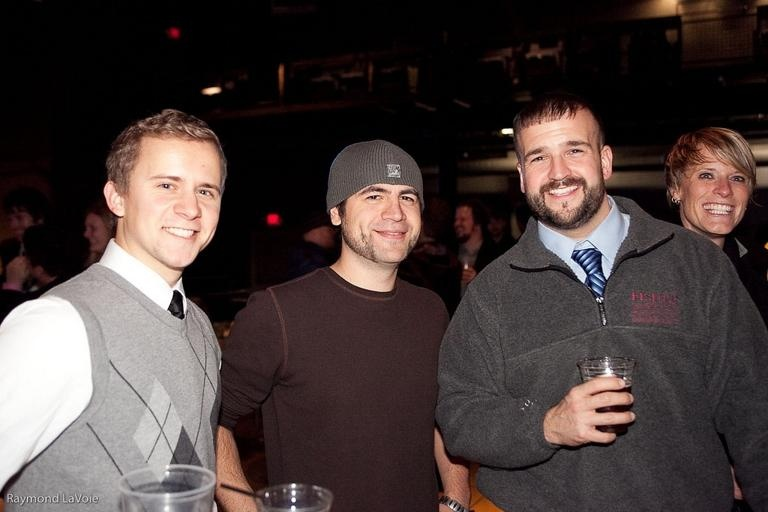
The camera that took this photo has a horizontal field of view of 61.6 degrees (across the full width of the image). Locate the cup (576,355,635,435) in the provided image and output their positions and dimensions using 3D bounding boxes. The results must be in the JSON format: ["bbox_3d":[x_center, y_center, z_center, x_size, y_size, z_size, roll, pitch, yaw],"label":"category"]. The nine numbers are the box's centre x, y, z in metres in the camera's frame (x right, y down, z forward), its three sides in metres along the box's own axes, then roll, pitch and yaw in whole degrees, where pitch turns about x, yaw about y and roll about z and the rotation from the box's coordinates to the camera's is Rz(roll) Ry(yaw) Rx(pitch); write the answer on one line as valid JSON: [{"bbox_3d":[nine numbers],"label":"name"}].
[{"bbox_3d":[0.888,0.558,2.576,0.320,0.310,0.295,0,-11,0],"label":"cup"}]

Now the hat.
[{"bbox_3d":[-0.072,-0.384,3.304,0.413,0.277,0.387,1,3,-14],"label":"hat"}]

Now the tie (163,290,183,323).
[{"bbox_3d":[-0.859,0.199,2.679,0.050,0.103,0.086,-8,15,36],"label":"tie"}]

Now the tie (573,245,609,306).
[{"bbox_3d":[0.937,0.074,2.896,0.163,0.211,0.065,2,-18,5],"label":"tie"}]
